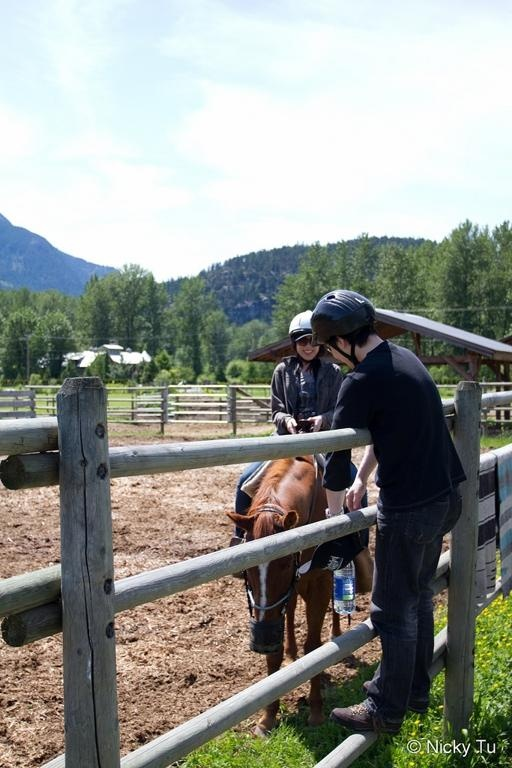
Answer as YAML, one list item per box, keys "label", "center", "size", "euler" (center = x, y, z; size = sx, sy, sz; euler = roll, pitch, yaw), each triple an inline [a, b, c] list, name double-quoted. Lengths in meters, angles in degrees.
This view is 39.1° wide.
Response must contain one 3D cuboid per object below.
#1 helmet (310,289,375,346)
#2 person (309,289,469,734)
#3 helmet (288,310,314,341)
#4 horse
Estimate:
- label: "helmet"
  center: [0.327, -0.257, 2.846]
  size: [0.227, 0.189, 0.179]
  euler: [19, 27, 31]
- label: "person"
  center: [0.500, 0.497, 2.797]
  size: [0.553, 1.732, 0.435]
  euler: [0, 2, 17]
- label: "helmet"
  center: [0.274, -0.358, 4.514]
  size: [0.159, 0.198, 0.215]
  euler: [0, -3, -10]
- label: "horse"
  center: [0.270, 1.096, 4.323]
  size: [0.467, 1.389, 1.906]
  euler: [-2, 10, 13]
